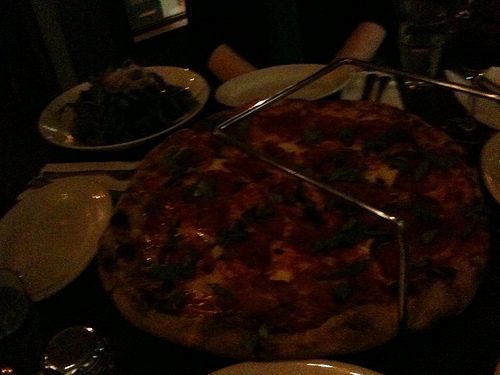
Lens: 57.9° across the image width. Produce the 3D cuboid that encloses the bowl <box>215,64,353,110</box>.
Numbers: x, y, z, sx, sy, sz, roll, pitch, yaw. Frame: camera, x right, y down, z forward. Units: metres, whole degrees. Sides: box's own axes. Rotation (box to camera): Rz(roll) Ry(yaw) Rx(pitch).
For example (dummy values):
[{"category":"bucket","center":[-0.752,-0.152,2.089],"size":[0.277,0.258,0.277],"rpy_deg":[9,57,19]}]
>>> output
[{"category":"bowl","center":[0.051,-0.269,1.200],"size":[0.307,0.043,0.309],"rpy_deg":[-16,24,7]}]

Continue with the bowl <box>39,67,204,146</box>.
[{"category":"bowl","center":[-0.303,-0.197,1.202],"size":[0.360,0.063,0.332],"rpy_deg":[-5,24,2]}]

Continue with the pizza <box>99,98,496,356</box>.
[{"category":"pizza","center":[0.135,0.063,0.846],"size":[0.603,0.053,0.562],"rpy_deg":[-27,43,-29]}]
